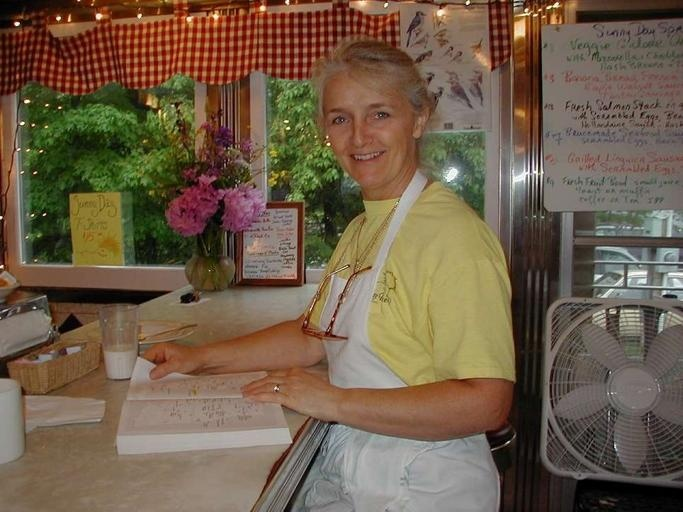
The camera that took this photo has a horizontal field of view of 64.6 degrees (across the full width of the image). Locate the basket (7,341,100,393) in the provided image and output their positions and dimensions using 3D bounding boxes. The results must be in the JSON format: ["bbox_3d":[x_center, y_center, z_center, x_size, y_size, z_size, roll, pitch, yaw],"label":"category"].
[{"bbox_3d":[-0.747,0.293,1.431,0.095,0.097,0.217,-1,5,23],"label":"basket"}]

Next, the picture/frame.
[{"bbox_3d":[-0.331,-0.053,2.553,0.377,0.472,0.046,0,-6,5],"label":"picture/frame"}]

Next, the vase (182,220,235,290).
[{"bbox_3d":[-0.590,-0.009,2.416,0.252,0.368,0.258,4,7,7],"label":"vase"}]

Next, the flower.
[{"bbox_3d":[-0.576,-0.241,2.502,0.407,0.784,0.415,5,1,16],"label":"flower"}]

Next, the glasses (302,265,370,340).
[{"bbox_3d":[0.004,0.120,1.479,0.083,0.212,0.157,22,-10,-39],"label":"glasses"}]

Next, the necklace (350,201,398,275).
[{"bbox_3d":[0.085,-0.045,1.471,0.032,0.193,0.124,30,-13,-25],"label":"necklace"}]

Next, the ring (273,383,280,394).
[{"bbox_3d":[-0.151,0.309,1.258,0.016,0.029,0.015,3,-1,0],"label":"ring"}]
